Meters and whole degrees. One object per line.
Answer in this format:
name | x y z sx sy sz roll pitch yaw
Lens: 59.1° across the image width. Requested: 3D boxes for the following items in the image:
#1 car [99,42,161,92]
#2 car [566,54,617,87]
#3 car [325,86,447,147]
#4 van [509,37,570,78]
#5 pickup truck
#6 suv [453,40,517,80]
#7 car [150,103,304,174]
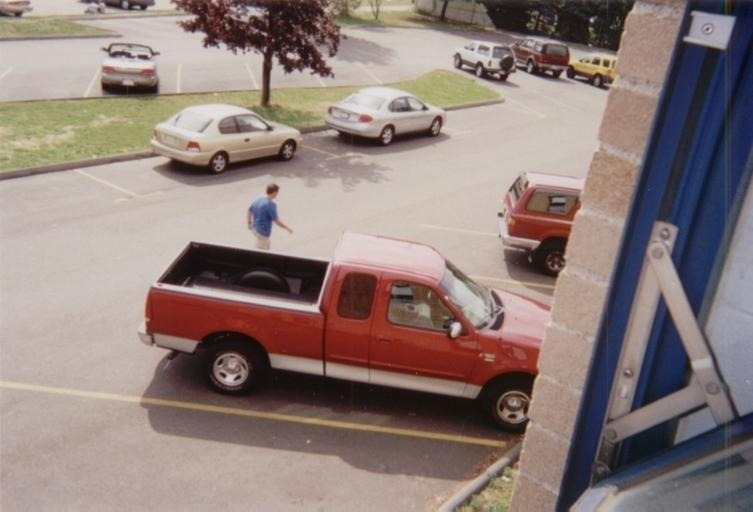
car | -9.029 -6.852 24.462 1.560 1.095 3.240 1 31 -15
car | 12.750 -10.672 38.055 1.871 1.781 3.601 -2 27 -16
car | 0.293 -4.575 22.064 3.888 1.644 1.459 -16 33 -38
van | 9.570 -12.081 39.228 2.010 1.580 3.289 -7 35 -23
pickup truck | -0.081 0.765 9.711 6.175 2.193 2.652 6 38 -2
suv | 5.889 -10.583 35.970 1.791 1.575 3.666 -9 31 -25
car | -3.915 -3.159 18.080 1.812 1.378 3.849 32 37 34
